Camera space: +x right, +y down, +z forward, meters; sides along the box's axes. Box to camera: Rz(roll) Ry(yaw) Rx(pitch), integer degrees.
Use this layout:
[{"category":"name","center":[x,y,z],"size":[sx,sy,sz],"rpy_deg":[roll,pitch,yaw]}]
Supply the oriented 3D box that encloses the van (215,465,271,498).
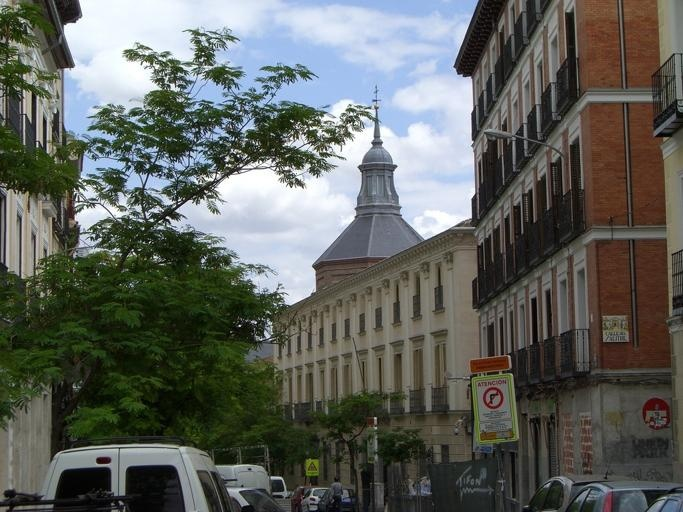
[{"category":"van","center":[-3.100,7.170,44.681],"size":[1.396,1.189,2.164],"rpy_deg":[-1,-3,3]}]
